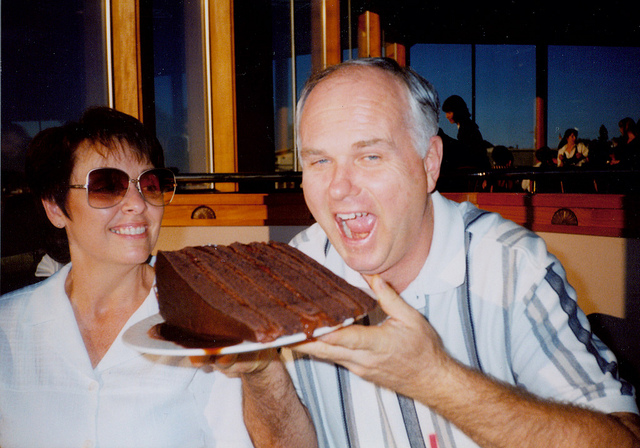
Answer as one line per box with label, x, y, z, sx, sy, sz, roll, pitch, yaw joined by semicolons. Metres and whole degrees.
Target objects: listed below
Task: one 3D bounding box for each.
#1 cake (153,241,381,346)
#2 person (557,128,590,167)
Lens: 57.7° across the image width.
cake;-0.417;0.408;3.650;1.441;0.506;0.728;2;4;18
person;4.841;-1.377;11.075;0.506;0.917;0.442;-4;-6;22
